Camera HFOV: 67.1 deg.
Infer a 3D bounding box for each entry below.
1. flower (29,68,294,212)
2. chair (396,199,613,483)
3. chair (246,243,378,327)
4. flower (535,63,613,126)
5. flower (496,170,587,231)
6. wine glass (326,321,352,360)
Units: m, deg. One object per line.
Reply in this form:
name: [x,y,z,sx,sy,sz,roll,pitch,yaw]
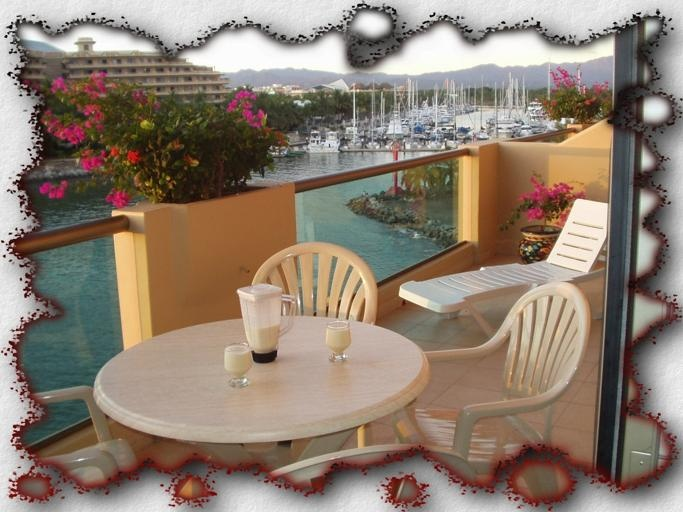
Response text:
flower: [-1.016,-0.708,3.130,1.383,0.779,0.916,-8,27,-30]
chair: [1.404,0.165,3.692,2.356,0.995,0.774,-10,20,-27]
chair: [-0.079,0.123,2.618,0.593,0.597,0.502,3,12,0]
flower: [3.719,-2.538,8.322,0.698,0.792,0.947,-6,15,-3]
flower: [2.012,-0.535,5.285,0.783,0.577,0.621,-6,7,-7]
wine glass: [-0.011,0.271,1.666,0.120,0.135,0.111,-1,7,-7]
